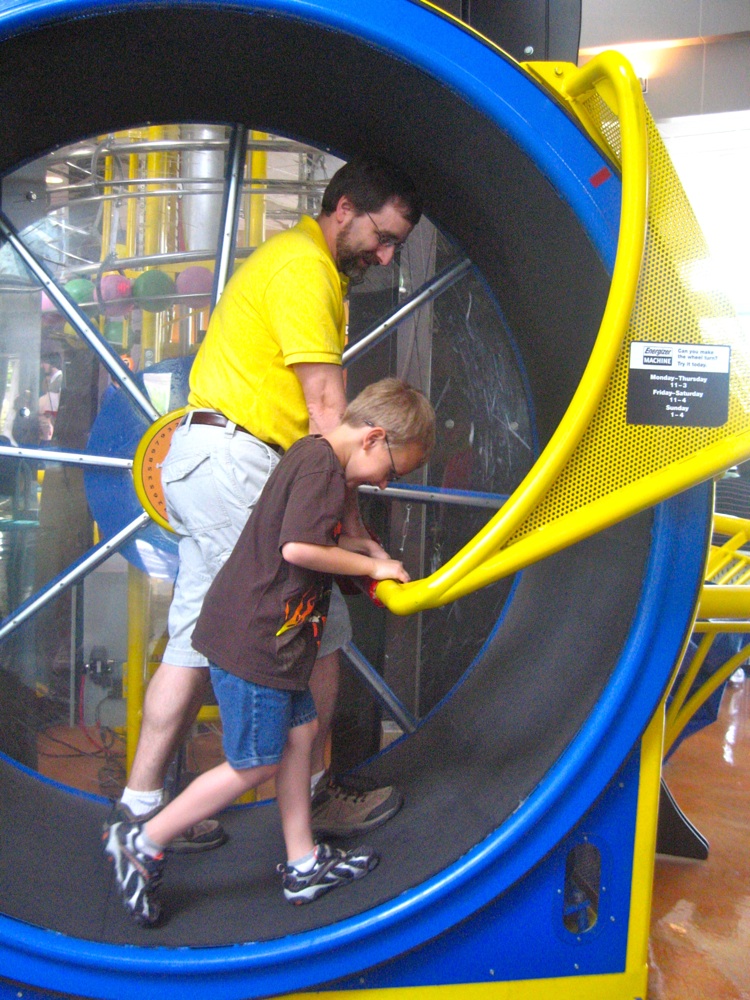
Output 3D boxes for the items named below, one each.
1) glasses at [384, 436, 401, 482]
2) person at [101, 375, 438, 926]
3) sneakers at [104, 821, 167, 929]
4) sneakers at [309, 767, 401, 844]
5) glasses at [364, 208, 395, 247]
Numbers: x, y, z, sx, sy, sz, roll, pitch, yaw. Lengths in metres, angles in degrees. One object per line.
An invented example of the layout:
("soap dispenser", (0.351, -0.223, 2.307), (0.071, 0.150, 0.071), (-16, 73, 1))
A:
("glasses", (0.034, -0.073, 1.624), (0.016, 0.058, 0.053), (-2, -4, -27))
("person", (-0.185, 0.261, 1.639), (0.477, 0.785, 0.314), (7, 2, -15))
("sneakers", (-0.414, 0.641, 1.665), (0.091, 0.199, 0.075), (-14, 1, 18))
("sneakers", (-0.050, 0.639, 1.994), (0.216, 0.156, 0.090), (-11, 4, 13))
("glasses", (0.009, -0.525, 1.806), (0.015, 0.055, 0.051), (-19, -8, 23))
